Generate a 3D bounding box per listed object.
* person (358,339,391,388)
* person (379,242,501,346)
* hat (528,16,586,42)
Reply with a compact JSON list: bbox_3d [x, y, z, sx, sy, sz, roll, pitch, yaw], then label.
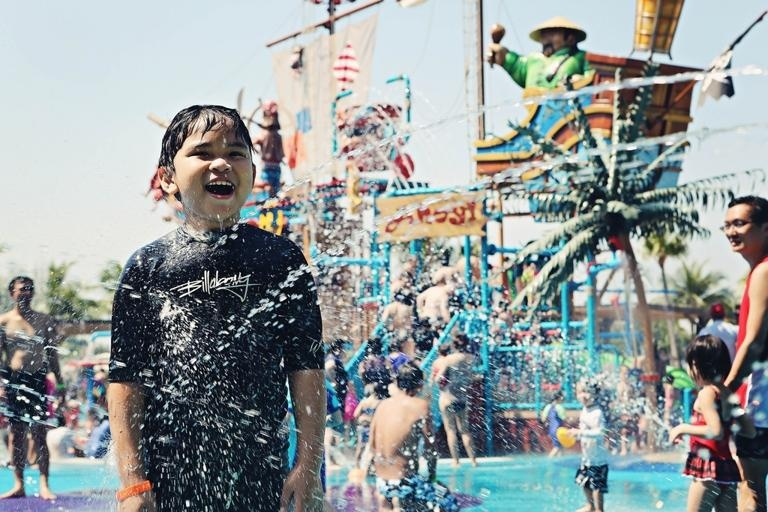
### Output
[{"bbox_3d":[-0.101,1.875,21.505,0.460,1.100,0.435,-7,-33,1],"label":"person"},{"bbox_3d":[1.313,0.529,24.687,1.500,1.927,0.897,4,-12,-32],"label":"person"},{"bbox_3d":[3.584,-4.644,26.043,1.075,0.464,0.601,-6,-12,14],"label":"hat"}]
